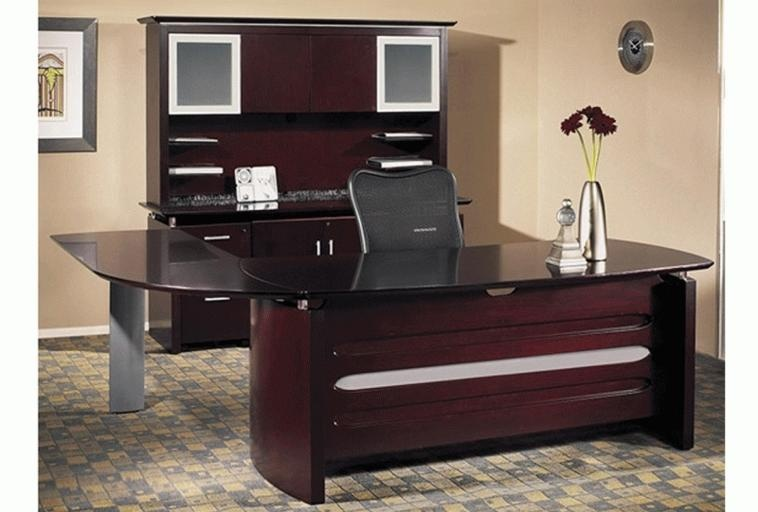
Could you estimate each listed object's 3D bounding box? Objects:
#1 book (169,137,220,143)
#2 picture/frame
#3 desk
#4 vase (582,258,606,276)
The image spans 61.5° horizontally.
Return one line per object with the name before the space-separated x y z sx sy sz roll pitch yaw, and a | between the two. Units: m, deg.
book | -1.393 -0.872 4.804 0.355 0.053 0.259 -3 9 -15
picture/frame | -2.329 -1.277 4.790 0.439 0.995 0.117 -4 10 -21
desk | 0.117 0.438 3.083 2.880 0.981 1.105 -2 9 -10
vase | 0.978 0.053 2.895 0.084 0.078 0.112 1 6 6
